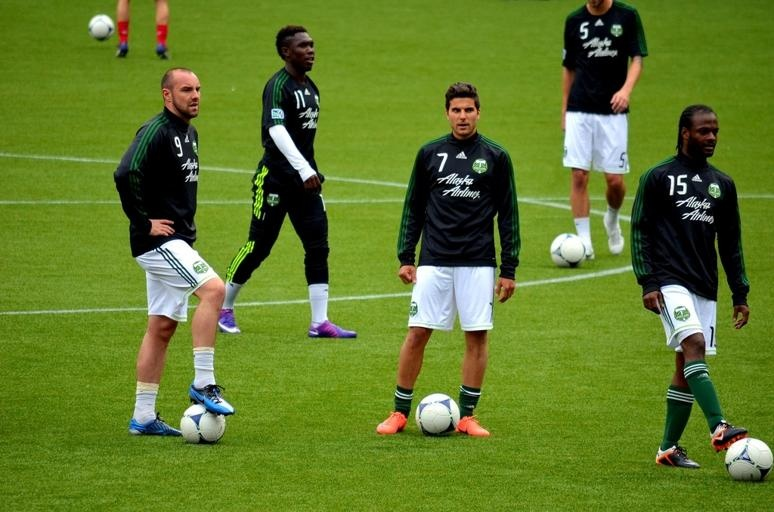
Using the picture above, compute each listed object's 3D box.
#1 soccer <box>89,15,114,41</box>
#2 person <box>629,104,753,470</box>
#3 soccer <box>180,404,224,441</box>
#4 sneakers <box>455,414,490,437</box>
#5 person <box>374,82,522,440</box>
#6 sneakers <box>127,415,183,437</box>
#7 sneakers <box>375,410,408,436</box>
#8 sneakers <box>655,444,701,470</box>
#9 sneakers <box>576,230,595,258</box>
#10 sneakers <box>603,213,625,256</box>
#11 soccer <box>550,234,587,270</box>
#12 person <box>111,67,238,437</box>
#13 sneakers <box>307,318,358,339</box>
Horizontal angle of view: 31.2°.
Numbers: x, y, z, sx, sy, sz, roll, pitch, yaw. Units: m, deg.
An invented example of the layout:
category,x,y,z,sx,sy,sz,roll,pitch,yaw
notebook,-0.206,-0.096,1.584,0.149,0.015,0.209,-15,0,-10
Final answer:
category,x,y,z,sx,sy,sz,roll,pitch,yaw
soccer,-6.135,-4.882,29.840,0.483,0.539,0.846,0,13,-13
person,2.864,0.278,13.016,1.207,3.286,1.161,5,13,8
soccer,-1.777,1.596,13.261,0.379,0.344,0.358,1,30,-18
sneakers,0.835,1.642,13.492,0.317,0.128,0.161,5,6,37
person,0.670,0.029,13.504,1.204,3.329,0.844,4,13,5
sneakers,-2.252,1.640,13.520,0.591,0.234,0.190,2,-1,-4
sneakers,0.048,1.621,13.522,0.138,0.149,0.355,30,17,30
sneakers,2.718,1.869,12.968,0.437,0.173,0.163,2,0,10
sneakers,2.659,-0.116,18.380,0.189,0.455,0.134,-18,23,5
sneakers,3.079,-0.310,18.757,0.231,0.622,0.260,-6,16,9
soccer,2.366,-0.067,18.102,0.437,0.424,0.245,4,13,6
person,-2.087,-0.028,13.364,0.973,3.436,1.204,-2,14,-21
sneakers,-0.612,0.806,15.535,0.587,0.214,0.205,1,1,-3
